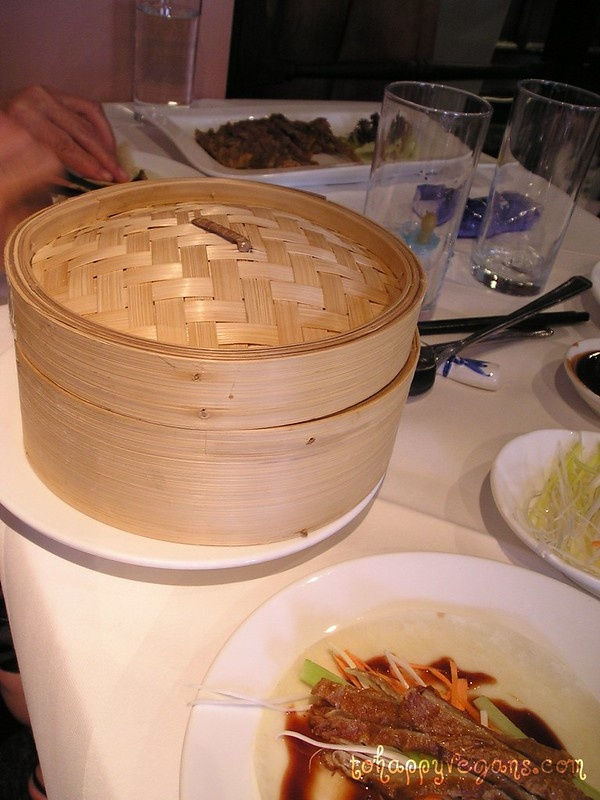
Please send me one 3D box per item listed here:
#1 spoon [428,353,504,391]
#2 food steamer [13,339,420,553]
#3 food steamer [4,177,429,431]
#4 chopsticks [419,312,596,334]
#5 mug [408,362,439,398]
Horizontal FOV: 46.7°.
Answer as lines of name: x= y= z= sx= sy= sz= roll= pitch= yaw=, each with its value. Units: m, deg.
spoon: x=0.289 y=-0.049 z=1.169 sx=0.080 sy=0.023 sz=0.062 roll=17 pitch=31 yaw=16
food steamer: x=-0.077 y=0.050 z=0.685 sx=0.285 sy=0.084 sz=0.248 roll=-4 pitch=35 yaw=-17
food steamer: x=-0.076 y=-0.062 z=0.687 sx=0.341 sy=0.075 sz=0.315 roll=-9 pitch=39 yaw=-25
chopsticks: x=0.375 y=-0.144 z=1.296 sx=0.341 sy=0.034 sz=0.015 roll=-8 pitch=46 yaw=-26
mug: x=0.184 y=-0.029 z=1.045 sx=0.040 sy=0.036 sz=0.038 roll=-28 pitch=52 yaw=-32
